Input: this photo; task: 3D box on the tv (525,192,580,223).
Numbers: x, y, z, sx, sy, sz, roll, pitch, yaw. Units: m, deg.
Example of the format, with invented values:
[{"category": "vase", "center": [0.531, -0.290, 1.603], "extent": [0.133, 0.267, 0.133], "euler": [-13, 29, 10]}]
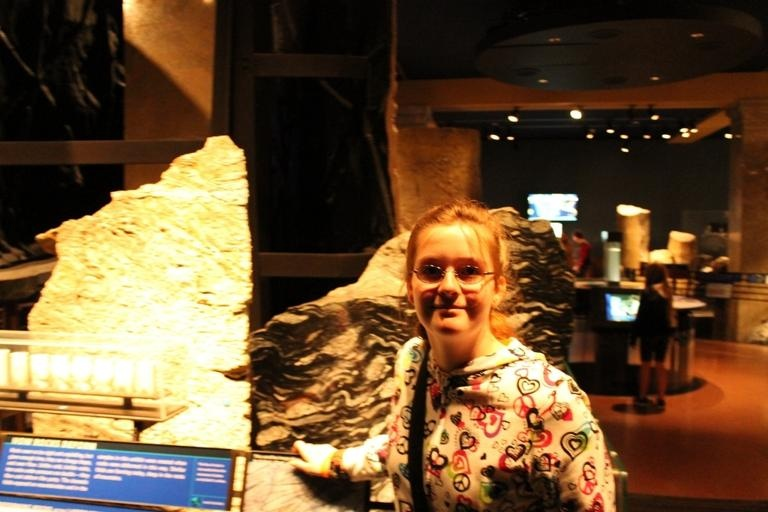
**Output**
[{"category": "tv", "center": [0.862, -0.252, 4.030], "extent": [0.232, 0.095, 0.020], "euler": [0, 7, 5]}]

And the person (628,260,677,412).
[{"category": "person", "center": [1.387, 0.429, 4.102], "extent": [0.186, 0.760, 0.143], "euler": [4, 0, 11]}]

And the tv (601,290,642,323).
[{"category": "tv", "center": [1.214, 0.258, 4.091], "extent": [0.241, 0.153, 0.106], "euler": [-1, 6, 2]}]
